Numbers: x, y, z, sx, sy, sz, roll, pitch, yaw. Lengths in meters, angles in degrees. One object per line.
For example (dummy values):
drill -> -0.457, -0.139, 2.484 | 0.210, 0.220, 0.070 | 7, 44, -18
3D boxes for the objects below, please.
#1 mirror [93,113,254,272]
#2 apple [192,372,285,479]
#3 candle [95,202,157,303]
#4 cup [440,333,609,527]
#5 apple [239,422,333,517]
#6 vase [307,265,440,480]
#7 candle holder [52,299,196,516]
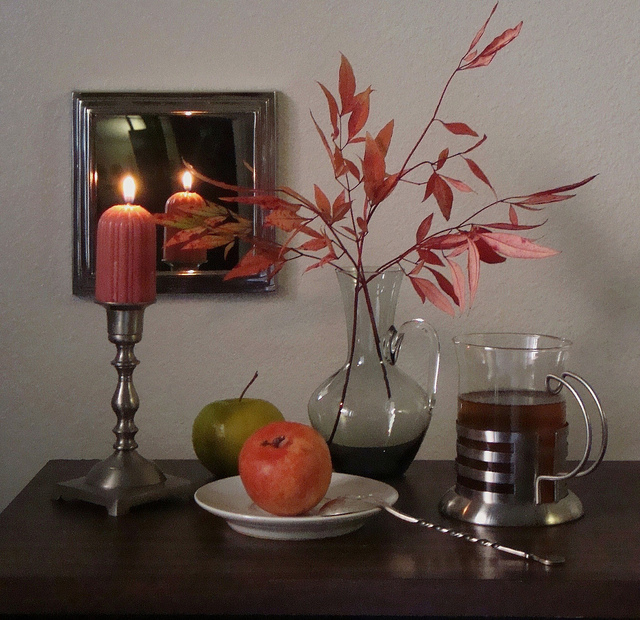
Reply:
mirror -> -0.186, -0.159, 1.000 | 0.207, 0.227, 0.015 | 0, 0, -1
apple -> -0.105, 0.134, 0.968 | 0.108, 0.140, 0.110 | -1, -1, 7
candle -> -0.195, -0.057, 0.805 | 0.045, 0.116, 0.056 | 12, 13, 37
cup -> 0.207, 0.120, 0.805 | 0.126, 0.183, 0.178 | -1, 2, -22
apple -> -0.034, 0.154, 0.769 | 0.088, 0.083, 0.056 | -1, 9, 2
vase -> 0.063, 0.071, 0.927 | 0.155, 0.254, 0.099 | -2, 9, -5
candle holder -> -0.192, 0.130, 0.850 | 0.084, 0.303, 0.069 | 0, 1, -41
